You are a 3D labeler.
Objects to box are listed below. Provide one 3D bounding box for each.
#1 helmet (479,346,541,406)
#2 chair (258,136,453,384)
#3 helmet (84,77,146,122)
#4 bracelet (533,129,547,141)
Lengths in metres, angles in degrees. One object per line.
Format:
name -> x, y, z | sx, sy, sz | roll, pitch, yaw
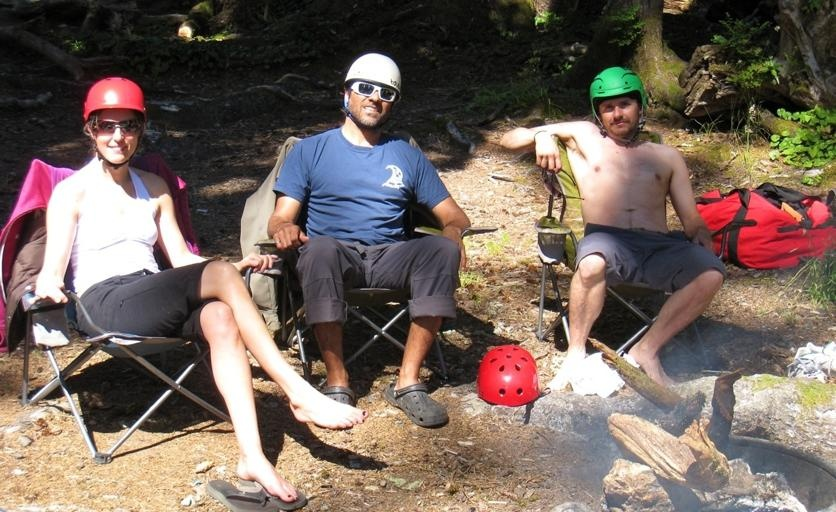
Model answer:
helmet -> 0.705, 0.969, 6.300 | 0.439, 0.279, 0.488 | 0, 7, 1
chair -> -0.689, 0.169, 7.263 | 2.200, 2.363, 1.868 | 0, -2, -20
helmet -> -2.381, -1.241, 6.168 | 0.426, 0.305, 0.319 | -9, -16, 1
bracelet -> 1.054, -1.062, 6.863 | 0.098, 0.103, 0.075 | 3, -17, 12
